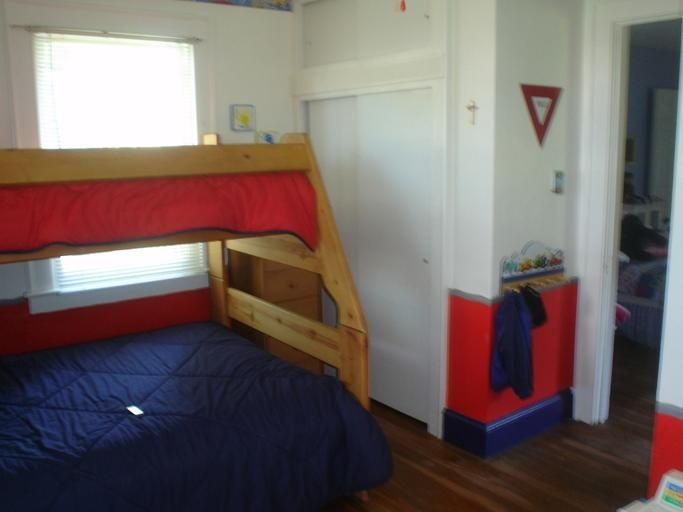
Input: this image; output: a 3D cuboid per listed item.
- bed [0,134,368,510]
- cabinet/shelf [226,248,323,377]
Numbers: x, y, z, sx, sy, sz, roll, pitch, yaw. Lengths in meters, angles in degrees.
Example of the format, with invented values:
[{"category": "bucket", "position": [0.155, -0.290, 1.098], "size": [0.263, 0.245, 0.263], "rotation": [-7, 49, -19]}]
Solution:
[{"category": "bed", "position": [-0.851, -0.002, 3.626], "size": [1.767, 1.551, 1.599], "rotation": [-4, 15, -11]}, {"category": "cabinet/shelf", "position": [-0.432, 0.641, 4.416], "size": [0.515, 0.537, 0.986], "rotation": [6, 51, -18]}]
